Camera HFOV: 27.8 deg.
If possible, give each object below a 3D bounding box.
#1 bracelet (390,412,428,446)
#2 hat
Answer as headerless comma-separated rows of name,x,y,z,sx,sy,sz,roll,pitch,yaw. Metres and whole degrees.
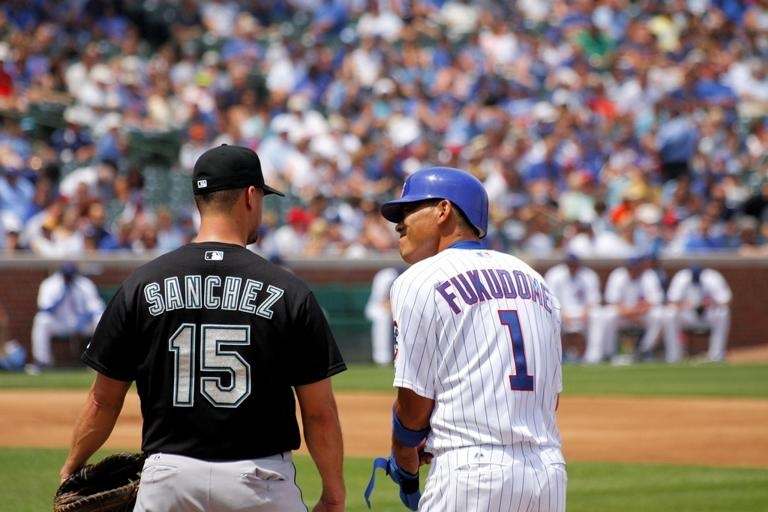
bracelet,0.224,1.819,16.223,0.383,0.289,0.333,14,18,-12
hat,-1.552,-0.911,16.187,0.740,0.363,0.460,0,1,-37
